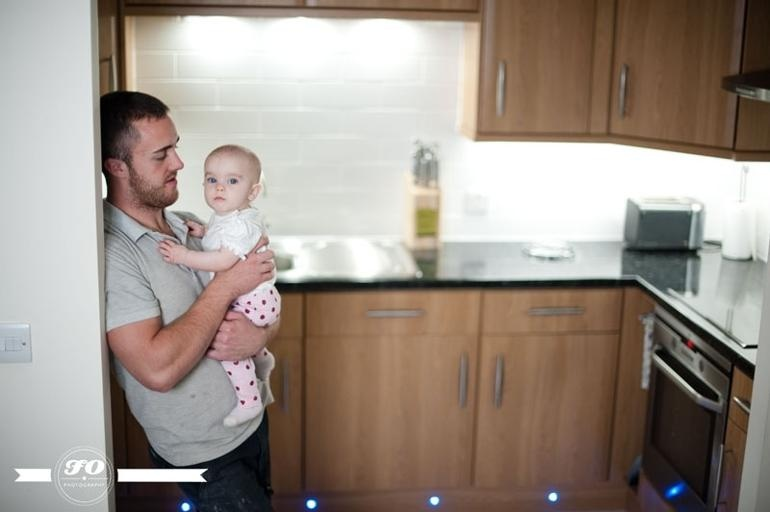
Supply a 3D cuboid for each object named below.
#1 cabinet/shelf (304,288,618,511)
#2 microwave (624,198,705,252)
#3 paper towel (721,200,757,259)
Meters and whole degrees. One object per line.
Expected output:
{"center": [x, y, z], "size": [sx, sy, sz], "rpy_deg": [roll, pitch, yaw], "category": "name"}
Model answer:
{"center": [0.354, 0.632, 2.971], "size": [1.535, 0.911, 0.512], "rpy_deg": [1, 0, -12], "category": "cabinet/shelf"}
{"center": [1.389, -0.158, 3.057], "size": [0.379, 0.246, 0.215], "rpy_deg": [-1, 11, -9], "category": "microwave"}
{"center": [1.696, -0.119, 2.892], "size": [0.148, 0.275, 0.075], "rpy_deg": [2, 11, 19], "category": "paper towel"}
